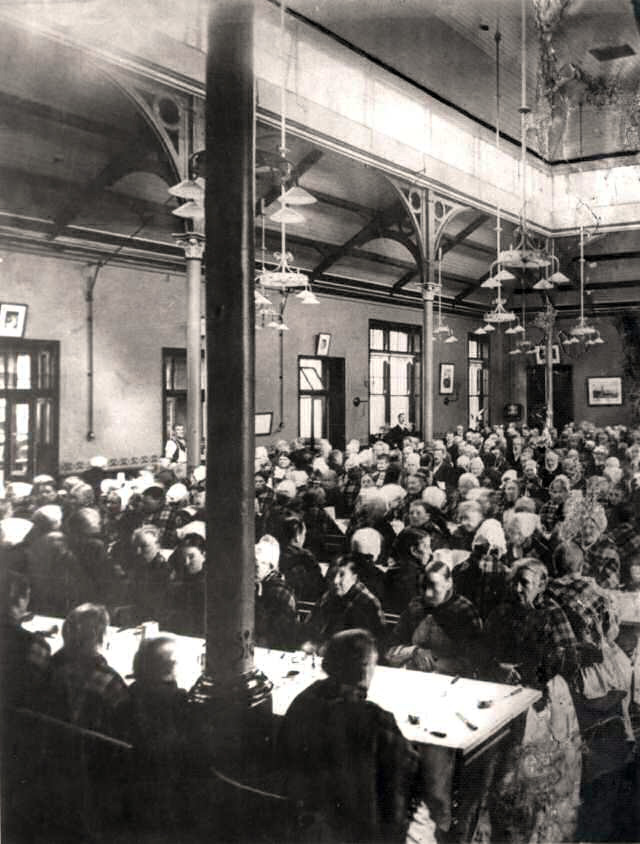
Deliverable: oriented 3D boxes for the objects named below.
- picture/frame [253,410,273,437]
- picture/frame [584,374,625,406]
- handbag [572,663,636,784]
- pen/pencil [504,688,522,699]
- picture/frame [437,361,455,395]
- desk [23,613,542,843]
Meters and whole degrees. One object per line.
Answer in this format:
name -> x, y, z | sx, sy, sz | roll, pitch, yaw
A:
picture/frame -> -0.375, 0.020, 5.372 | 0.016, 0.201, 0.144 | 0, -1, 29
picture/frame -> 1.499, -0.147, 4.310 | 0.209, 0.145, 0.185 | -1, -3, 0
handbag -> 1.063, 1.144, 3.082 | 0.217, 0.350, 0.173 | -1, -3, 12
pen/pencil -> 0.704, 0.977, 2.973 | 0.021, 0.018, 0.113 | -3, -4, 33
picture/frame -> 1.000, -0.324, 6.577 | 0.027, 0.381, 0.228 | 0, 0, 29
desk -> -0.093, 1.169, 3.263 | 1.824, 0.620, 0.615 | -4, -4, 35
